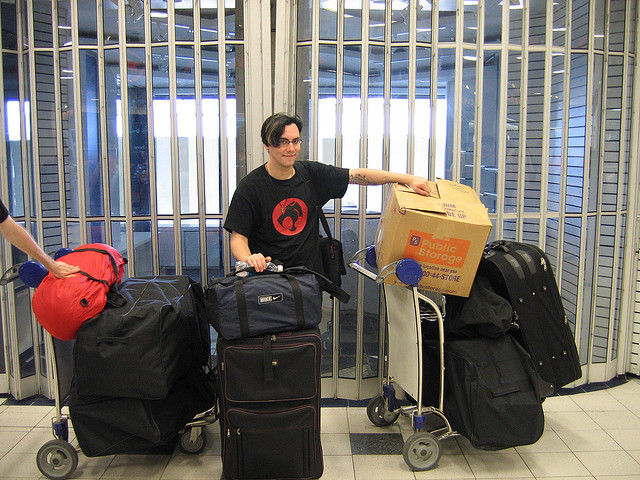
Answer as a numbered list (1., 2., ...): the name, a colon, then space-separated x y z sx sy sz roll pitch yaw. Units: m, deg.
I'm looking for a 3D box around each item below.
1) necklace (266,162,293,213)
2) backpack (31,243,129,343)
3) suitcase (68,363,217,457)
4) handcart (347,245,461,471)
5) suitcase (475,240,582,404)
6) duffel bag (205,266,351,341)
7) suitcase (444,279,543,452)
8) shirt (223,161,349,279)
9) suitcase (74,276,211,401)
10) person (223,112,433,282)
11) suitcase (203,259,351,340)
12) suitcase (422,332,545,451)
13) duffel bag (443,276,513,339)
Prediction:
1. necklace: -0.281 -0.378 4.010 0.186 0.337 0.131 -4 11 -4
2. backpack: -1.603 0.249 3.795 0.479 0.350 0.710 12 30 -1
3. suitcase: -1.185 1.171 3.795 0.753 0.300 0.635 -10 -5 -7
4. handcart: 0.660 0.808 4.078 0.646 1.686 0.841 -1 4 -10
5. suitcase: 1.533 0.590 4.289 0.365 1.090 0.725 -12 -9 -5
6. duffel bag: -0.285 0.364 3.478 0.803 0.442 0.581 -1 14 -30
7. suitcase: 1.455 0.894 4.351 0.712 1.331 1.359 -7 -11 22
8. shirt: -0.266 -0.166 4.042 0.790 0.716 0.336 -8 12 -19
9. suitcase: -1.167 0.565 3.945 0.759 0.613 0.913 3 18 14
10. person: 0.044 0.064 4.212 1.404 1.834 0.681 2 41 3
11. suitcase: -0.252 0.373 3.786 0.942 0.458 0.567 -4 4 -7
12. suitcase: 1.023 1.014 4.088 0.567 0.627 0.986 0 1 -27
13. duffel bag: 1.097 0.479 3.950 0.456 0.420 0.294 -1 11 10
